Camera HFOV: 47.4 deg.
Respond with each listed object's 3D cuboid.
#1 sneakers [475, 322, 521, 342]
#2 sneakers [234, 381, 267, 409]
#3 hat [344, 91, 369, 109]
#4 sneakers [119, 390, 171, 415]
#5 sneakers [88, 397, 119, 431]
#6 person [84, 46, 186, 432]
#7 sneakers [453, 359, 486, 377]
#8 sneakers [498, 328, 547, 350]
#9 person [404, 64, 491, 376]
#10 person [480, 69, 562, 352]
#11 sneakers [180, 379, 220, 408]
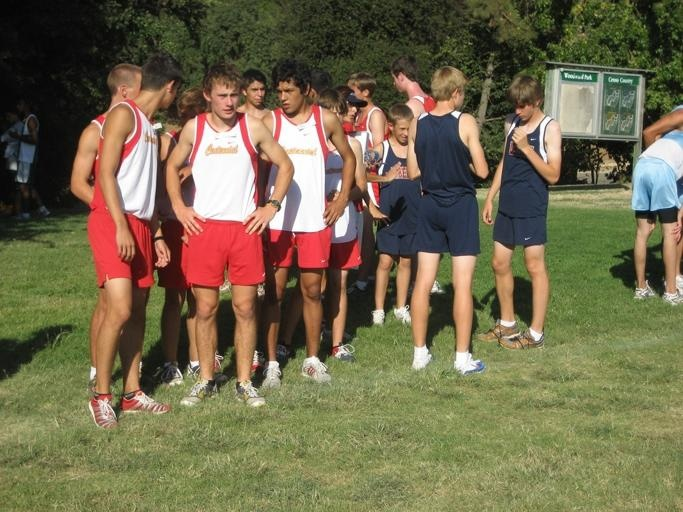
[{"bbox_3d":[2.007,0.961,9.811,0.479,0.268,0.232,-6,1,11],"label":"sneakers"},{"bbox_3d":[-0.961,1.419,8.097,0.392,0.187,0.195,11,18,35],"label":"sneakers"},{"bbox_3d":[0.174,-2.120,10.761,0.306,0.112,0.196,33,49,26],"label":"hat"},{"bbox_3d":[-2.023,1.473,8.009,0.522,0.289,0.218,1,1,-1],"label":"sneakers"},{"bbox_3d":[-2.370,1.522,7.691,0.308,0.263,0.297,-1,14,-3],"label":"sneakers"},{"bbox_3d":[-2.116,-0.203,7.798,0.610,3.521,1.218,7,14,32],"label":"person"},{"bbox_3d":[1.462,1.241,8.843,0.312,0.177,0.167,-8,24,-14],"label":"sneakers"},{"bbox_3d":[2.251,1.036,9.688,0.530,0.310,0.248,1,1,4],"label":"sneakers"},{"bbox_3d":[1.269,-0.446,9.021,0.840,3.526,0.893,0,-2,24],"label":"person"},{"bbox_3d":[2.188,-0.545,9.508,0.704,3.279,0.824,-5,13,-24],"label":"person"},{"bbox_3d":[-1.493,1.431,8.220,0.148,0.225,0.460,7,14,29],"label":"sneakers"}]
